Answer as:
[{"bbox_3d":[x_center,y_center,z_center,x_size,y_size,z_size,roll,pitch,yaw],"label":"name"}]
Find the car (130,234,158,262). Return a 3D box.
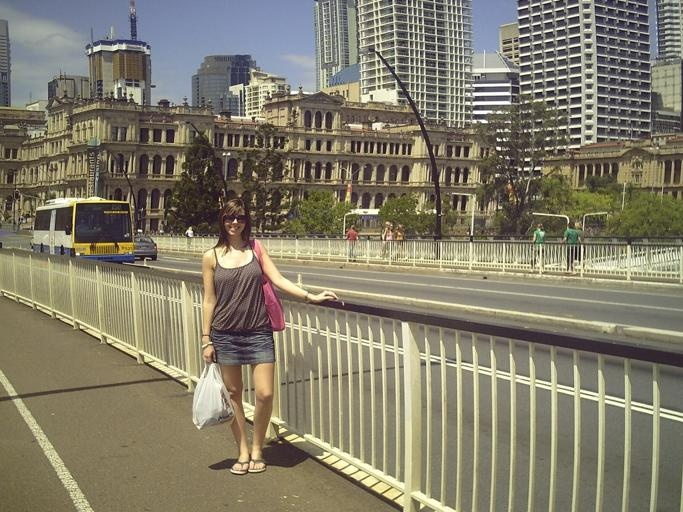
[{"bbox_3d":[-11.227,-0.376,44.973,1.103,1.100,2.911,0,7,-12],"label":"car"}]

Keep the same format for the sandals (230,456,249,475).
[{"bbox_3d":[-0.911,1.892,7.056,0.172,0.114,0.153,-1,3,-1],"label":"sandals"}]

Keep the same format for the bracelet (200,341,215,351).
[{"bbox_3d":[-1.207,0.839,7.184,0.089,0.027,0.067,-36,15,-16],"label":"bracelet"}]

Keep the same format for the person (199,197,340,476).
[{"bbox_3d":[-0.859,0.710,7.191,0.782,2.451,0.445,-1,2,-11],"label":"person"}]

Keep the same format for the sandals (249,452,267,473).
[{"bbox_3d":[-0.753,1.873,7.105,0.161,0.140,0.156,-1,3,-3],"label":"sandals"}]
